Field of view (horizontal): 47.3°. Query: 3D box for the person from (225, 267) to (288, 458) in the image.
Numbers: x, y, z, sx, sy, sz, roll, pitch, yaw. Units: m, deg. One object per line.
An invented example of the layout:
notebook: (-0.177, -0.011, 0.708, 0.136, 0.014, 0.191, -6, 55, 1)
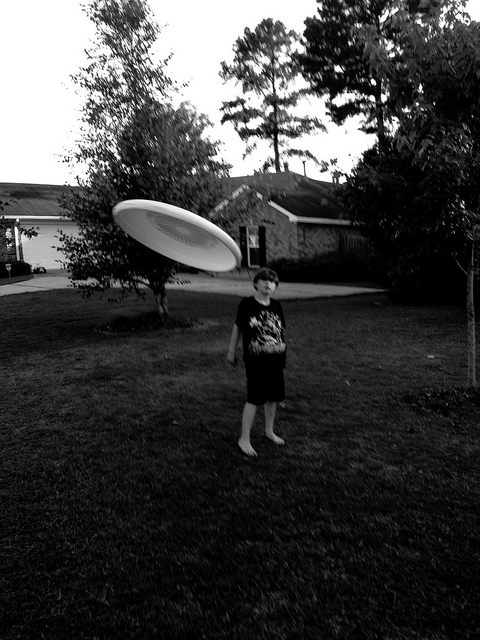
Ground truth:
person: (0.163, 0.276, 4.989, 0.501, 1.489, 1.593, 0, 6, 4)

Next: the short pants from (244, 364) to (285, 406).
short pants: (0.192, 0.476, 4.402, 0.308, 0.517, 0.255, 0, 2, 4)
